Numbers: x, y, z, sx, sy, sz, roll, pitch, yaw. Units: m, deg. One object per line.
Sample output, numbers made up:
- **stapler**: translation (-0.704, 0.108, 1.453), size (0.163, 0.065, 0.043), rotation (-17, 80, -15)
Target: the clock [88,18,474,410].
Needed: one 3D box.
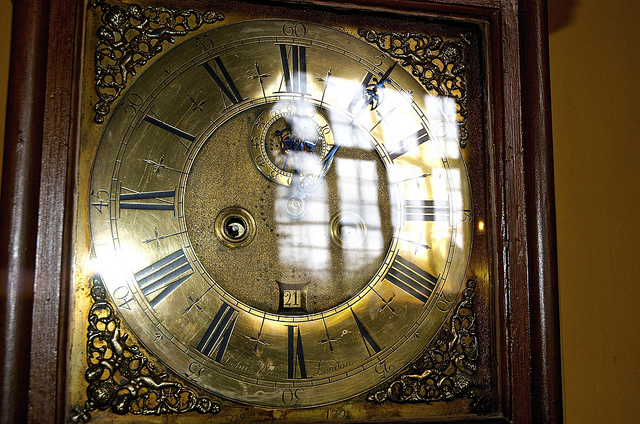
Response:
- **clock**: translation (-0.176, 0.052, 3.617), size (1.154, 0.088, 1.227), rotation (2, -93, -10)
